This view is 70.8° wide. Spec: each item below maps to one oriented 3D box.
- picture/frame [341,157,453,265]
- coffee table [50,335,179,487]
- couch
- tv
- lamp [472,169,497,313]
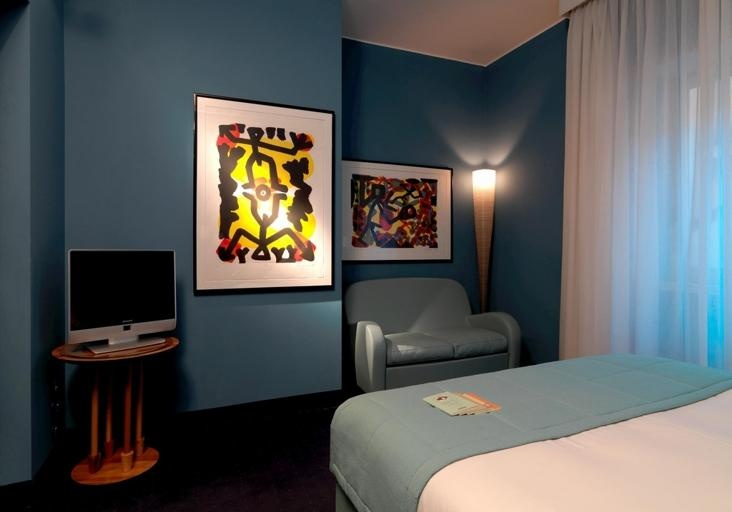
[{"bbox_3d":[0.290,-0.442,5.300,1.166,0.968,0.020,2,3,18],"label":"picture/frame"},{"bbox_3d":[-1.807,1.055,3.787,0.861,0.894,0.875,1,-5,-31],"label":"coffee table"},{"bbox_3d":[0.586,0.726,4.892,1.528,1.003,0.899,-1,3,-24],"label":"couch"},{"bbox_3d":[-1.726,0.323,3.624,0.687,0.716,0.244,1,-6,-34],"label":"tv"},{"bbox_3d":[1.249,-0.103,5.449,0.231,1.721,0.259,-3,-23,18],"label":"lamp"}]
